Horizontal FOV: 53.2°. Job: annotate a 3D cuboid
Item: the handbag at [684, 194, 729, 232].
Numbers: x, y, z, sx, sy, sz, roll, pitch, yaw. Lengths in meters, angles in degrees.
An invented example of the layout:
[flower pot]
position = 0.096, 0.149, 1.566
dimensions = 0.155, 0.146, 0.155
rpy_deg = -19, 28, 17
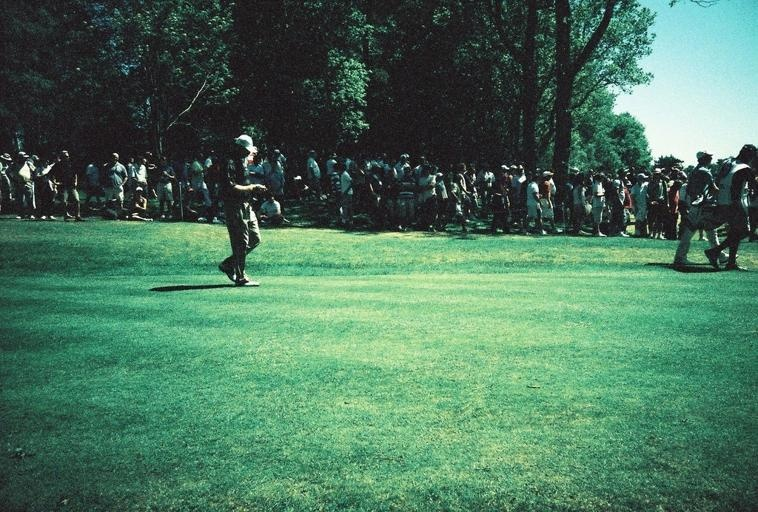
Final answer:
[handbag]
position = 7.516, -0.949, 17.382
dimensions = 0.734, 0.321, 0.755
rpy_deg = -2, -20, 3

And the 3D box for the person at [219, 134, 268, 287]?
[person]
position = -2.611, -0.816, 14.251
dimensions = 0.795, 2.865, 0.971
rpy_deg = -1, 12, -10

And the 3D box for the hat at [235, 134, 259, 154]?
[hat]
position = -2.468, -2.036, 13.872
dimensions = 0.222, 0.311, 0.419
rpy_deg = 5, 12, 14

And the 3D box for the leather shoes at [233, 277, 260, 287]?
[leather shoes]
position = -2.520, 0.477, 14.252
dimensions = 0.496, 0.213, 0.175
rpy_deg = 0, 2, -11
